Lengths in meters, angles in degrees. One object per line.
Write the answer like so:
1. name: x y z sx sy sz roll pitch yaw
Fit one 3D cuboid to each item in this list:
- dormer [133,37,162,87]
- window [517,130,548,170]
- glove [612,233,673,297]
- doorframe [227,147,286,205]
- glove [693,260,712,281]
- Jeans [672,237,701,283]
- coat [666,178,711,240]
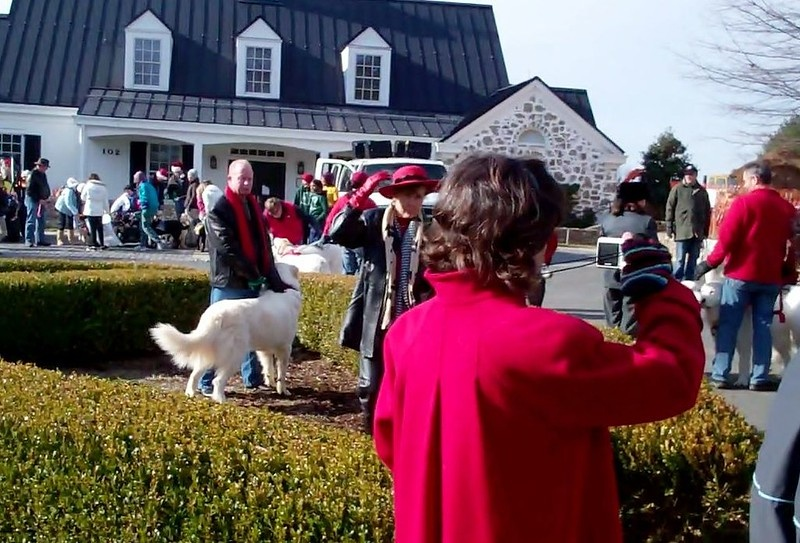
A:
1. dormer: -8.643 -7.250 25.514 0.925 1.613 0.546 0 8 -17
2. window: 4.556 -4.512 25.576 1.392 0.232 2.067 8 -35 18
3. glove: 1.013 -0.030 3.148 0.189 0.126 0.235 2 -8 -12
4. doorframe: -4.701 -3.222 25.592 1.985 2.298 0.077 0 -19 -29
5. glove: 3.199 0.005 7.901 0.197 0.073 0.150 -37 0 32
6. Jeans: 4.871 -0.273 12.600 0.385 0.346 1.346 8 -36 22
7. coat: 4.844 -0.992 12.315 0.676 1.026 0.480 -6 -9 19
